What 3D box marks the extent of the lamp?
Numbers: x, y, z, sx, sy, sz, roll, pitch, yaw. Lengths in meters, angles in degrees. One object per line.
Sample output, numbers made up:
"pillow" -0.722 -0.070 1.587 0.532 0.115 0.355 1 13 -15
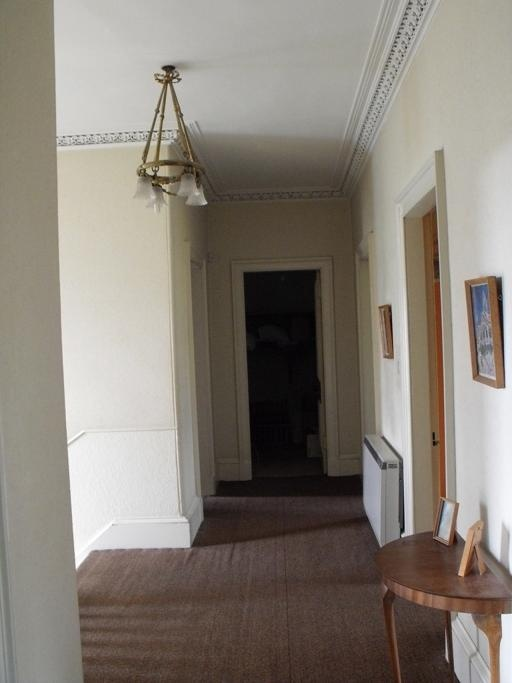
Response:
"lamp" -0.523 -1.218 3.179 0.501 0.935 0.516 -5 15 -18
